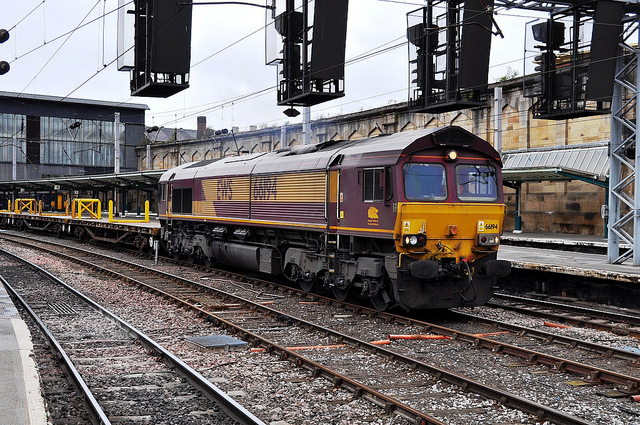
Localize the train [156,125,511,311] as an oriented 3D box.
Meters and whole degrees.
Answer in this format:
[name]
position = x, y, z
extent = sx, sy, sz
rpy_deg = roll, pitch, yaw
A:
[train]
position = -2.003, 0.164, 27.000
extent = 4.742, 5.886, 23.921
rpy_deg = 0, 0, -28
